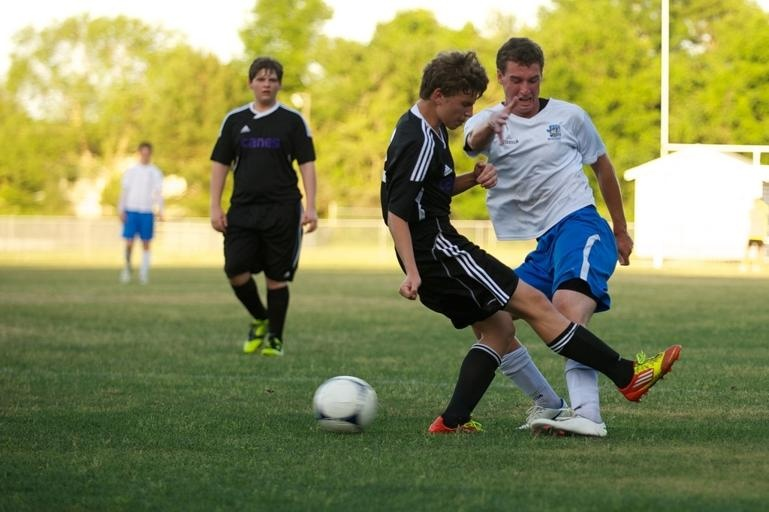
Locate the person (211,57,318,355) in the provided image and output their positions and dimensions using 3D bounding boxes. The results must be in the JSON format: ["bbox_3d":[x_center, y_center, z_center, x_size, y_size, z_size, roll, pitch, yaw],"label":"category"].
[{"bbox_3d":[-1.556,-0.635,13.089,1.359,3.803,0.442,2,6,-6],"label":"person"}]

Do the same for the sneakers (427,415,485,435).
[{"bbox_3d":[0.779,1.872,11.158,0.606,0.235,0.218,-2,-3,-7],"label":"sneakers"}]

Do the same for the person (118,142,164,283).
[{"bbox_3d":[-4.403,-0.764,18.346,0.757,2.541,1.180,1,7,-14],"label":"person"}]
